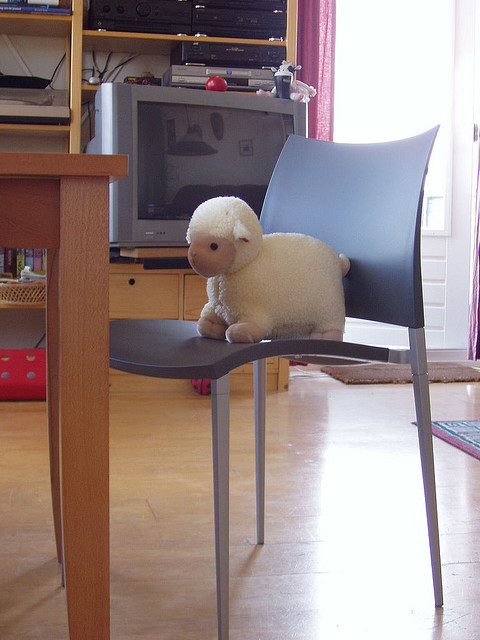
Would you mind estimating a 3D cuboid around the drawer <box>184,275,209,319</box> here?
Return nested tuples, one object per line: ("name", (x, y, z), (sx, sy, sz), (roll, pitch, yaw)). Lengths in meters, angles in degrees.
("drawer", (-0.170, -0.057, 2.416), (0.094, 0.175, 0.180), (-2, -22, -3))

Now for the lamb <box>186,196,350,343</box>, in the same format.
("lamb", (0.017, -0.066, 0.972), (0.223, 0.263, 0.181), (-5, 16, -33))

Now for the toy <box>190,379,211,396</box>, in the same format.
("toy", (-0.150, 0.239, 2.352), (0.065, 0.072, 0.206), (1, 5, -7))

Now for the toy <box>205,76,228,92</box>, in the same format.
("toy", (-0.088, -0.880, 2.353), (0.067, 0.070, 0.070), (0, -4, 16))
